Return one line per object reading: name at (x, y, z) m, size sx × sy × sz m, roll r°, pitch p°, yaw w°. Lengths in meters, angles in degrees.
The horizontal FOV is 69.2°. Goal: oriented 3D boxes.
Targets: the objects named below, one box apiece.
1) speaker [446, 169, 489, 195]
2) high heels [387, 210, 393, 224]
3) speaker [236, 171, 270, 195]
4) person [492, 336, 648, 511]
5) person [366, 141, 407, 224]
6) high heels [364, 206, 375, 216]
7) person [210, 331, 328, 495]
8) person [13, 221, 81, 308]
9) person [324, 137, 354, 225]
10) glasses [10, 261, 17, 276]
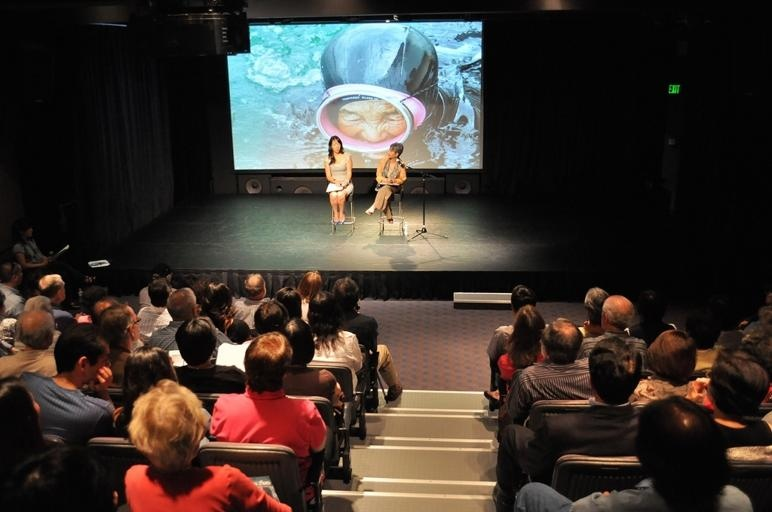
speaker at (1.689, -1.663, 12.561) m, size 0.927 × 0.567 × 0.485 m, roll -1°, pitch 10°, yaw -2°
high heels at (0.057, -0.638, 9.512) m, size 0.072 × 0.202 × 0.078 m, roll -3°, pitch 40°, yaw 1°
speaker at (-3.037, -1.659, 12.781) m, size 0.809 × 0.448 × 0.129 m, roll 2°, pitch 4°, yaw 11°
person at (1.052, 0.971, 3.193) m, size 0.726 × 1.384 × 0.803 m, roll -5°, pitch 38°, yaw 8°
person at (0.001, -1.226, 9.409) m, size 0.580 × 1.312 × 0.700 m, roll 1°, pitch 3°, yaw 1°
high heels at (-0.257, -0.754, 9.340) m, size 0.098 × 0.128 × 0.325 m, roll 18°, pitch 9°, yaw -18°
person at (-0.712, 1.113, 3.472) m, size 0.757 × 1.263 × 0.670 m, roll 2°, pitch 13°, yaw -3°
person at (-4.572, 0.071, 7.604) m, size 0.748 × 1.205 × 0.485 m, roll -13°, pitch 19°, yaw -9°
person at (-0.822, -1.272, 9.588) m, size 0.448 × 1.453 × 0.393 m, roll 1°, pitch 4°, yaw -5°
glasses at (-4.078, 0.123, 6.134) m, size 0.043 × 0.096 × 0.071 m, roll 12°, pitch 10°, yaw 40°
